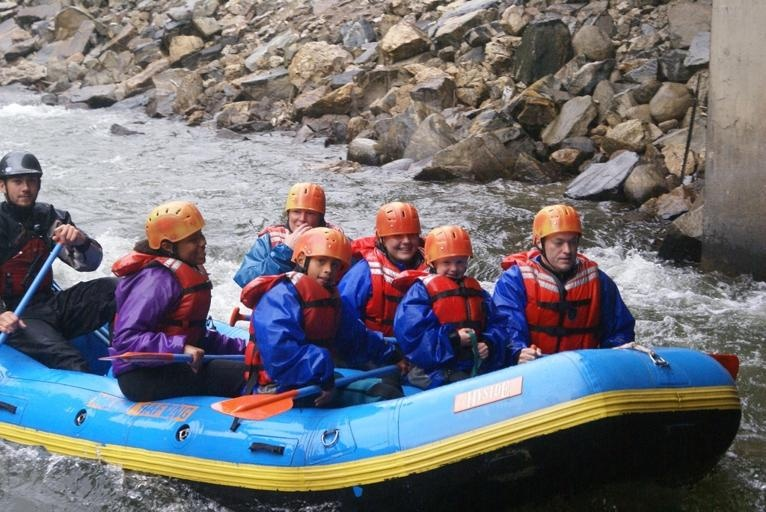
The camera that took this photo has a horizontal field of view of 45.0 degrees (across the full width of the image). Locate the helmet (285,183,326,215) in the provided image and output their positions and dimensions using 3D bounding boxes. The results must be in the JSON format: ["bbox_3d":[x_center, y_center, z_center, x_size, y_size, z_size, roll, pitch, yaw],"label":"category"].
[{"bbox_3d":[-0.926,-0.617,11.136,0.339,0.453,0.371,3,45,0],"label":"helmet"}]

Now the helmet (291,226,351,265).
[{"bbox_3d":[-0.611,-0.096,9.613,0.493,0.275,0.368,5,0,-9],"label":"helmet"}]

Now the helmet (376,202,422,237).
[{"bbox_3d":[0.174,-0.435,10.334,0.353,0.454,0.359,-1,51,-6],"label":"helmet"}]

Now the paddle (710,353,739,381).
[{"bbox_3d":[3.528,1.126,9.546,0.336,0.318,0.080,-4,0,-7],"label":"paddle"}]

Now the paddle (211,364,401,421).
[{"bbox_3d":[-0.715,1.474,9.510,2.043,0.172,0.539,-12,25,-22],"label":"paddle"}]

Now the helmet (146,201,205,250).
[{"bbox_3d":[-2.211,-0.380,9.951,0.608,0.441,0.453,-11,18,-3],"label":"helmet"}]

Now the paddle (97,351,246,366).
[{"bbox_3d":[-2.172,1.088,9.706,1.398,0.142,0.179,1,-13,-16],"label":"paddle"}]
